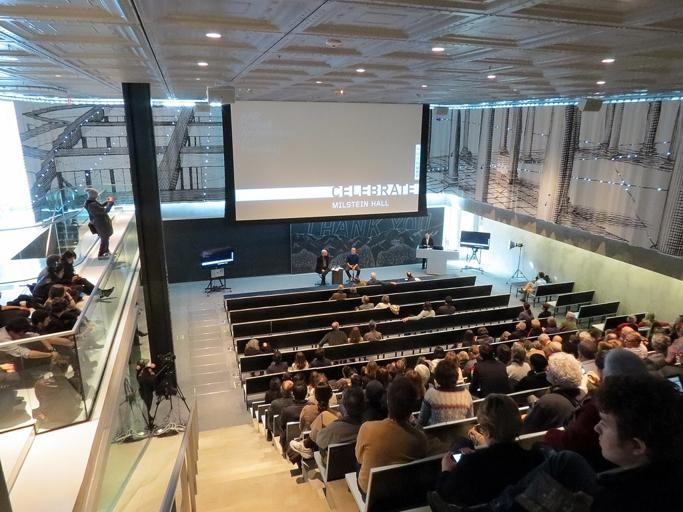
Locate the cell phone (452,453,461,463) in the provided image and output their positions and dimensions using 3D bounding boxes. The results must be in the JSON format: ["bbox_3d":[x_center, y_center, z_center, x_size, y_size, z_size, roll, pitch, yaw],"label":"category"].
[{"bbox_3d":[0.900,1.568,3.635,0.072,0.056,0.119,-1,8,16],"label":"cell phone"}]

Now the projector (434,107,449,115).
[{"bbox_3d":[3.061,-4.403,14.238,0.323,0.279,0.606,-2,7,7],"label":"projector"}]

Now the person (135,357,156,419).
[{"bbox_3d":[-3.620,2.490,8.724,0.348,1.094,0.537,-7,9,-24],"label":"person"}]

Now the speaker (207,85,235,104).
[{"bbox_3d":[-2.134,-2.851,8.276,0.452,0.280,0.359,-3,8,-4],"label":"speaker"}]

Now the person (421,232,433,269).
[{"bbox_3d":[3.332,-0.196,18.177,0.499,1.346,1.840,-2,8,10],"label":"person"}]

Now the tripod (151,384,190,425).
[{"bbox_3d":[-3.323,2.732,8.974,0.667,0.662,1.381,-6,8,-21],"label":"tripod"}]

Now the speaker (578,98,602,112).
[{"bbox_3d":[5.047,-3.057,9.432,0.363,0.233,0.309,-1,8,14],"label":"speaker"}]
